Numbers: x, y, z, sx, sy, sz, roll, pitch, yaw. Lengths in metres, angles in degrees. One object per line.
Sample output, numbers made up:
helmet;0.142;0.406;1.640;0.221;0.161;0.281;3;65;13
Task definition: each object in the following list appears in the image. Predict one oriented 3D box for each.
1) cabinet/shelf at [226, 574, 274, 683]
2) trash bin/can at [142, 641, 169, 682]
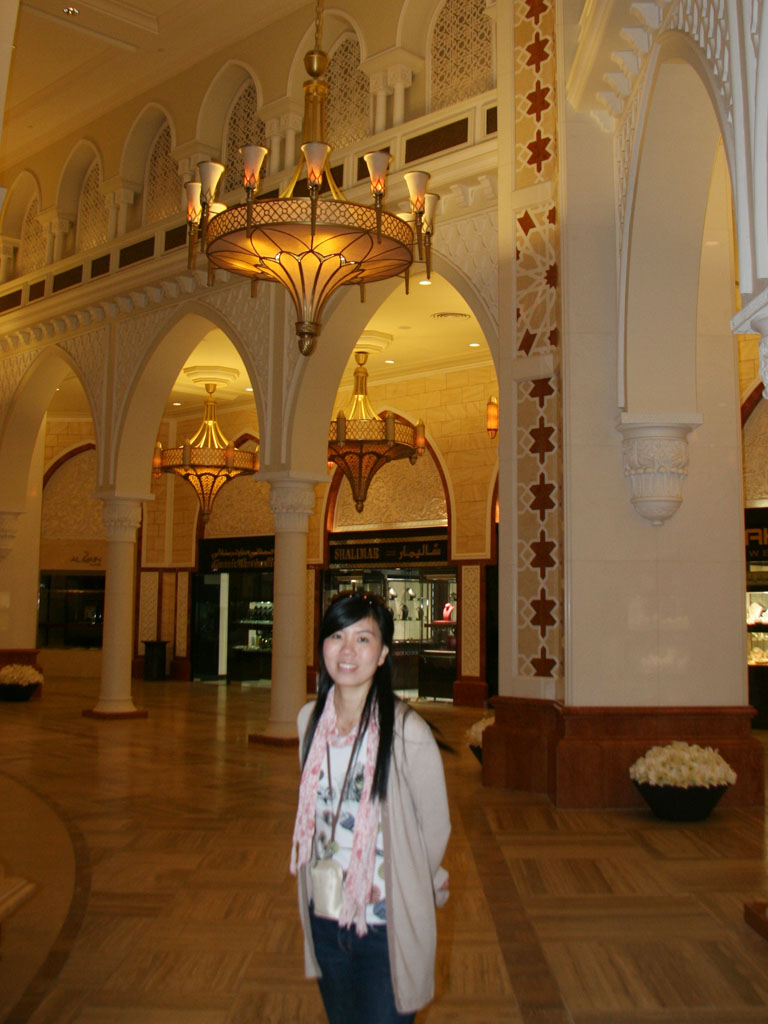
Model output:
cabinet/shelf;-2.942;2.488;17.049;1.206;2.342;0.318;-6;-10;33
trash bin/can;-5.144;3.304;17.515;0.529;0.831;0.456;1;-8;-13
